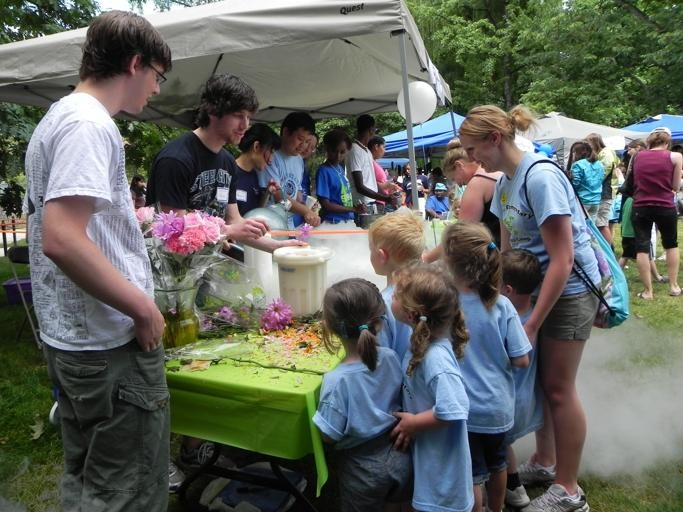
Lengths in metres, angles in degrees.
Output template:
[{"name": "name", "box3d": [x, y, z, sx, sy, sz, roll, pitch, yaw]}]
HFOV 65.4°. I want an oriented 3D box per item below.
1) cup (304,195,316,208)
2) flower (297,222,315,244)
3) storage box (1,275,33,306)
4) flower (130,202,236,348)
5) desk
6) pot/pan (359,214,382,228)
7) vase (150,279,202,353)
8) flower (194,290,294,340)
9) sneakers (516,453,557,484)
[{"name": "cup", "box3d": [-0.231, -0.421, 4.082, 0.084, 0.070, 0.086, 1, -10, 0]}, {"name": "flower", "box3d": [-0.221, -0.133, 3.150, 0.108, 0.114, 0.034, 3, -2, 7]}, {"name": "storage box", "box3d": [-3.690, 0.413, 6.082, 0.368, 0.255, 0.522, 0, 9, -14]}, {"name": "flower", "box3d": [-0.672, 0.086, 2.595, 0.564, 0.809, 0.536, 3, 4, -1]}, {"name": "desk", "box3d": [-0.375, 0.670, 2.430, 0.753, 0.454, 0.438, 3, 14, 18]}, {"name": "pot/pan", "box3d": [0.181, -0.247, 3.765, 0.120, 0.082, 0.127, 0, 0, -4]}, {"name": "vase", "box3d": [-0.775, 0.278, 2.514, 0.201, 0.327, 0.211, -1, 10, -2]}, {"name": "flower", "box3d": [-0.493, 0.285, 2.686, 0.315, 0.153, 0.248, 0, 0, -2]}, {"name": "sneakers", "box3d": [1.128, 1.257, 3.127, 0.226, 0.127, 0.094, -1, -1, 16]}]
